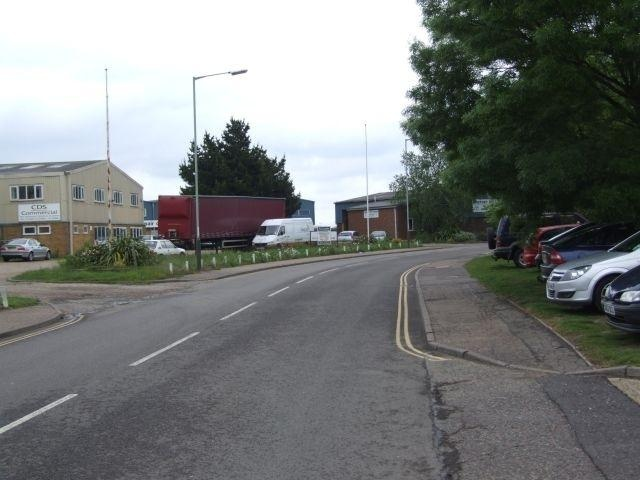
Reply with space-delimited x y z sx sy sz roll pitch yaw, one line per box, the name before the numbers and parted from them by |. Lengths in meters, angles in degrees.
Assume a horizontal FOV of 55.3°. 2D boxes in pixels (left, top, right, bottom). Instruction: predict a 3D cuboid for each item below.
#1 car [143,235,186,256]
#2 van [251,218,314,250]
car | -10.067 0.425 38.818 1.382 1.035 2.712 4 6 29
van | -2.968 -0.674 47.663 2.432 2.082 7.817 0 4 22
